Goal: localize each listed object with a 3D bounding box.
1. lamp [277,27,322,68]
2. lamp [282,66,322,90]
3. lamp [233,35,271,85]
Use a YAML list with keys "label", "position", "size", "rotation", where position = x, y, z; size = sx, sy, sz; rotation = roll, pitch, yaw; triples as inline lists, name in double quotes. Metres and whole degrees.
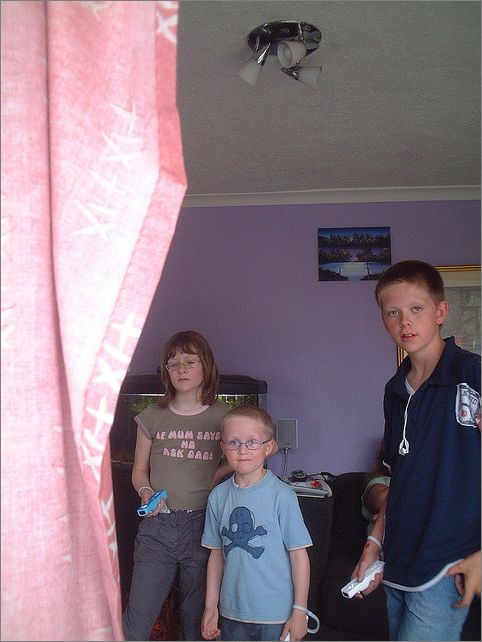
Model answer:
- label: "lamp"
  position: [0.170, -0.788, 1.565]
  size: [0.121, 0.066, 0.068]
  rotation: [-23, 47, -32]
- label: "lamp"
  position: [0.187, -0.749, 1.656]
  size: [0.108, 0.063, 0.067]
  rotation: [12, 30, 19]
- label: "lamp"
  position: [0.063, -0.787, 1.637]
  size: [0.088, 0.128, 0.124]
  rotation: [3, 2, 31]
